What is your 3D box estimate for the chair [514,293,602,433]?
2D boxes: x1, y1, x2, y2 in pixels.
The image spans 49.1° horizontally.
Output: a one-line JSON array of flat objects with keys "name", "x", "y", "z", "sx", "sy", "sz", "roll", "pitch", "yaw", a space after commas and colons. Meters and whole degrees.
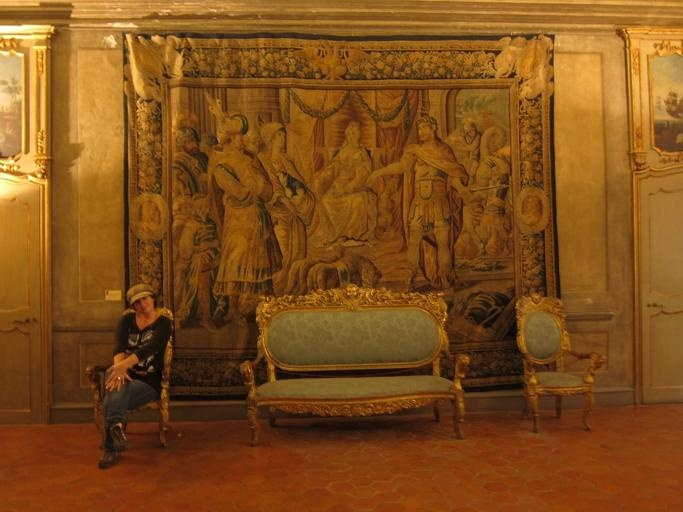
[{"name": "chair", "x": 2.603, "y": 1.227, "z": 8.861, "sx": 1.010, "sy": 1.494, "sz": 1.063, "roll": 1, "pitch": 2, "yaw": 2}]

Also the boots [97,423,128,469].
[{"name": "boots", "x": -2.388, "y": 1.970, "z": 7.768, "sx": 0.203, "sy": 0.550, "sz": 0.233, "roll": 9, "pitch": 0, "yaw": 4}]

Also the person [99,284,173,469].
[{"name": "person", "x": -2.240, "y": 1.239, "z": 8.109, "sx": 0.597, "sy": 1.804, "sz": 1.000, "roll": 1, "pitch": 2, "yaw": 5}]
